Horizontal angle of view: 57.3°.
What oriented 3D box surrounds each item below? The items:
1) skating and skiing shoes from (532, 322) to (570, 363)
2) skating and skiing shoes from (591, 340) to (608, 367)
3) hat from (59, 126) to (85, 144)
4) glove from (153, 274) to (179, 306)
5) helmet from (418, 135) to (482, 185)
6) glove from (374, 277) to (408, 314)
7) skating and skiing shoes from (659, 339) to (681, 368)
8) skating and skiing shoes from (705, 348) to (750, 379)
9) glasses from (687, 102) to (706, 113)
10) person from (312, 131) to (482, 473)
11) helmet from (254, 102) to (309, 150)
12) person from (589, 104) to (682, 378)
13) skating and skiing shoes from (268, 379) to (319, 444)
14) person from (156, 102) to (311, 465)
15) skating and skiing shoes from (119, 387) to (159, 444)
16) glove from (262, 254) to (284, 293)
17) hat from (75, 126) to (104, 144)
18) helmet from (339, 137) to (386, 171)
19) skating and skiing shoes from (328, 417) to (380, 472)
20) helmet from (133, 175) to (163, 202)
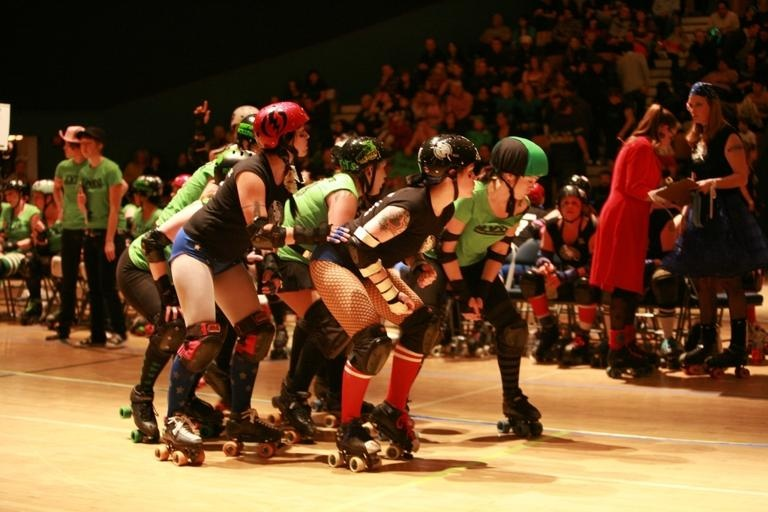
[{"bbox_3d":[1.848,0.974,7.933,0.224,0.667,0.284,-21,-64,42],"label":"skating and skiing shoes"},{"bbox_3d":[2.370,1.073,7.686,0.160,0.267,0.108,14,-1,-42],"label":"skating and skiing shoes"},{"bbox_3d":[-3.664,-1.447,8.323,0.235,0.114,0.270,19,-2,-3],"label":"hat"},{"bbox_3d":[-1.623,0.283,5.298,0.179,0.233,0.088,-19,-13,-26],"label":"glove"},{"bbox_3d":[0.443,-0.713,4.909,0.426,0.351,0.317,3,20,14],"label":"helmet"},{"bbox_3d":[0.074,0.289,4.802,0.118,0.132,0.368,38,-8,45],"label":"glove"},{"bbox_3d":[3.039,1.032,7.499,0.150,0.175,0.415,-1,-5,3],"label":"skating and skiing shoes"},{"bbox_3d":[3.380,1.067,6.961,0.305,0.225,0.116,2,8,4],"label":"skating and skiing shoes"},{"bbox_3d":[2.989,-1.431,6.753,0.097,0.064,0.133,-3,-13,7],"label":"glasses"},{"bbox_3d":[0.074,0.292,4.935,1.062,2.296,0.553,-2,6,-21],"label":"person"},{"bbox_3d":[-0.698,-0.949,4.985,0.437,0.316,0.345,-9,23,-4],"label":"helmet"},{"bbox_3d":[2.633,-0.182,7.171,0.968,2.694,0.905,4,5,22],"label":"person"},{"bbox_3d":[-0.669,1.225,5.457,0.583,0.290,0.210,48,-6,47],"label":"skating and skiing shoes"},{"bbox_3d":[-1.034,0.156,4.930,1.013,2.478,0.609,-1,6,-7],"label":"person"},{"bbox_3d":[-1.780,1.175,5.286,0.235,0.287,0.467,7,22,-39],"label":"skating and skiing shoes"},{"bbox_3d":[-0.896,0.152,5.470,0.131,0.310,0.190,10,8,25],"label":"glove"},{"bbox_3d":[-3.385,-1.409,8.183,0.177,0.125,0.247,12,-15,36],"label":"hat"},{"bbox_3d":[-0.181,-0.798,5.475,0.400,0.322,0.286,-2,10,-33],"label":"helmet"},{"bbox_3d":[-0.191,1.302,4.791,0.190,0.264,0.406,10,-7,-38],"label":"skating and skiing shoes"},{"bbox_3d":[-2.806,-0.817,8.450,0.339,0.260,0.260,-12,26,-15],"label":"helmet"}]
